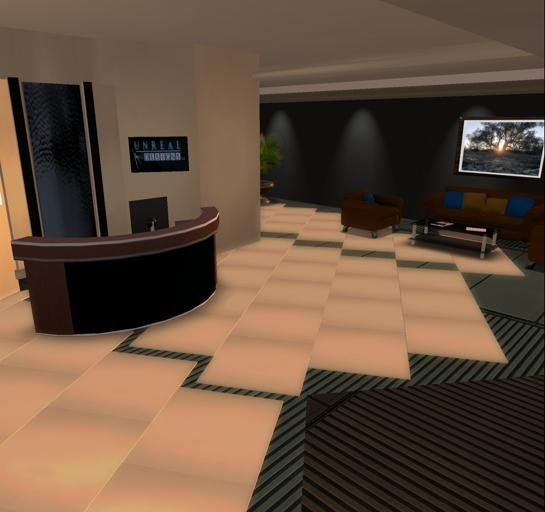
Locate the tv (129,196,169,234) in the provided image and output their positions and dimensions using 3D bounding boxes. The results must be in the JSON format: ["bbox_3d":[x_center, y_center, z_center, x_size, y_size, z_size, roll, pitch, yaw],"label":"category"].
[{"bbox_3d":[-1.950,-0.680,5.843,0.725,0.610,0.162,-6,10,-38],"label":"tv"}]

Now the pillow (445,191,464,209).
[{"bbox_3d":[3.897,-1.202,7.863,0.369,0.348,0.136,10,-1,43],"label":"pillow"}]

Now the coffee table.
[{"bbox_3d":[3.423,-0.381,7.017,0.980,0.438,1.478,-14,22,-37],"label":"coffee table"}]

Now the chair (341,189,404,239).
[{"bbox_3d":[2.212,-0.972,8.106,1.189,0.797,1.244,8,23,29],"label":"chair"}]

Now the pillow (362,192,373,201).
[{"bbox_3d":[2.135,-1.329,8.235,0.110,0.187,0.206,-8,11,40],"label":"pillow"}]
